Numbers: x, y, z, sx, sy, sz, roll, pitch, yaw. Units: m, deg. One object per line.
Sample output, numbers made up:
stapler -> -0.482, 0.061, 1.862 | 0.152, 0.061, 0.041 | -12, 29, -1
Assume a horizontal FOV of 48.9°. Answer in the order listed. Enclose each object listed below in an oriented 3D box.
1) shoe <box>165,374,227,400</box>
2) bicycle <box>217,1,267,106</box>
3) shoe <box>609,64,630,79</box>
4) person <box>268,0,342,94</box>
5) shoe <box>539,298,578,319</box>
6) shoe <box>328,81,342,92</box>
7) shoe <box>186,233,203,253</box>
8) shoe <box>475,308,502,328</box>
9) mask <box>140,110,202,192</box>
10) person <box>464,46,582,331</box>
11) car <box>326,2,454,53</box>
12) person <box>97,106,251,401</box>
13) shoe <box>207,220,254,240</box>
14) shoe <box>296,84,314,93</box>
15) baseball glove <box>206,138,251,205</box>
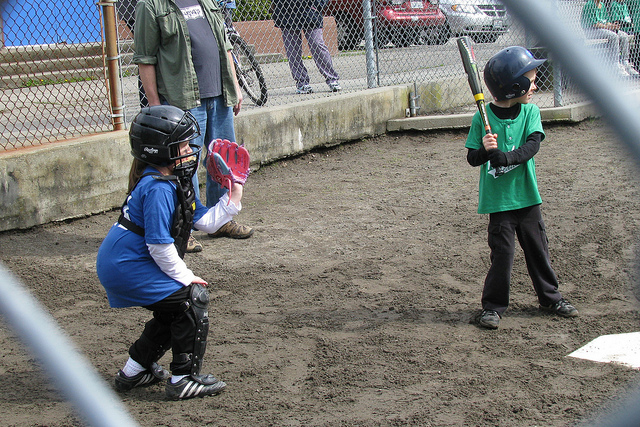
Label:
shoe -> -0.770, 1.097, 4.419 | 0.467, 0.132, 0.212 | 0, 14, 3
bicycle -> -0.914, -1.865, 9.232 | 0.588, 1.149, 0.681 | -24, -30, 11
shoe -> 4.163, -1.955, 9.827 | 0.249, 0.240, 0.995 | -1, 15, 23
person -> -0.146, -2.296, 9.737 | 0.800, 1.284, 0.508 | -10, 14, -9
shoe -> 1.715, 0.678, 5.073 | 0.275, 0.113, 0.107 | 3, 24, 24
shoe -> 0.244, -1.780, 9.879 | 0.178, 0.140, 0.269 | -7, 14, 1
shoe -> -1.116, 0.285, 6.243 | 0.094, 0.104, 0.251 | -4, 5, -38
shoe -> 1.187, 0.739, 4.940 | 0.088, 0.092, 0.219 | 4, -11, 7
mask -> -0.857, -0.396, 4.434 | 0.509, 0.467, 0.377 | 6, 16, -3
person -> 1.373, -0.184, 4.945 | 0.732, 1.890, 0.585 | -7, 14, 2
car -> 1.095, -2.985, 11.152 | 2.029, 0.813, 0.981 | -19, 25, -39
person -> -1.019, 0.247, 4.493 | 0.707, 1.781, 0.622 | -6, 14, 5
shoe -> -0.782, 0.150, 6.485 | 0.411, 0.178, 0.171 | -2, 7, 2
shoe -> -0.179, -1.723, 9.771 | 0.243, 0.126, 0.263 | -7, 14, 0
baseball glove -> -0.607, -0.332, 4.858 | 0.333, 0.432, 0.211 | -10, -28, -2
